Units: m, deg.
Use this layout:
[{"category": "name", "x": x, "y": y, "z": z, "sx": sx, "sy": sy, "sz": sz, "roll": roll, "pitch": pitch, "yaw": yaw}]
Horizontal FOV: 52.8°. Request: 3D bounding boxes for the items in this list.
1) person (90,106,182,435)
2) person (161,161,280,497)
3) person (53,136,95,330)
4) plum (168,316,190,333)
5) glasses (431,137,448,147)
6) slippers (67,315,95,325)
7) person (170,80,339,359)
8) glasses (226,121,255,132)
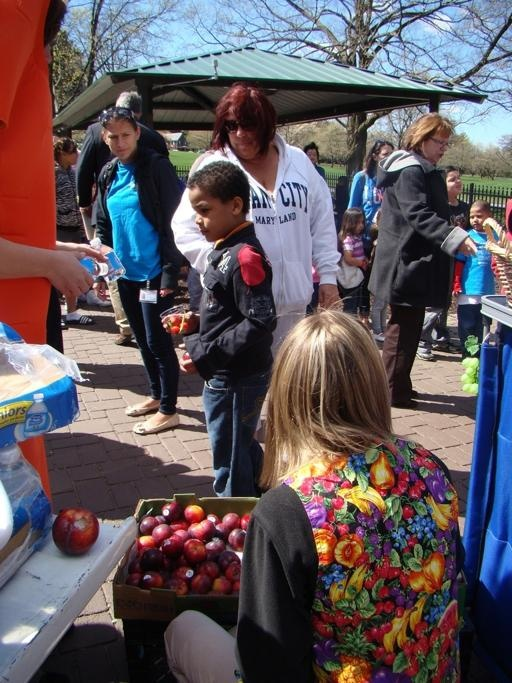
[{"category": "person", "x": -0.855, "y": -0.638, "z": 3.602, "sx": 0.863, "sy": 2.337, "sz": 0.680, "roll": 5, "pitch": 8, "yaw": 37}, {"category": "person", "x": -0.083, "y": 0.012, "z": 2.197, "sx": 0.423, "sy": 1.389, "sz": 0.414, "roll": 6, "pitch": 10, "yaw": 32}, {"category": "person", "x": -2.409, "y": -1.378, "z": 6.650, "sx": 0.724, "sy": 2.411, "sz": 0.817, "roll": 4, "pitch": 20, "yaw": -10}, {"category": "plum", "x": -0.351, "y": -0.072, "z": 2.388, "sx": 0.054, "sy": 0.077, "sz": 0.081, "roll": 13, "pitch": 15, "yaw": -45}, {"category": "glasses", "x": 1.310, "y": -1.410, "z": 3.643, "sx": 0.073, "sy": 0.023, "sz": 0.070, "roll": -5, "pitch": 53, "yaw": -27}, {"category": "slippers", "x": -2.293, "y": -0.281, "z": 6.738, "sx": 0.350, "sy": 0.126, "sz": 0.131, "roll": -3, "pitch": 25, "yaw": -6}, {"category": "person", "x": 0.044, "y": -0.334, "z": 2.590, "sx": 0.848, "sy": 1.707, "sz": 0.599, "roll": -16, "pitch": 25, "yaw": -32}, {"category": "glasses", "x": -0.067, "y": -0.968, "z": 2.314, "sx": 0.065, "sy": 0.019, "sz": 0.069, "roll": 14, "pitch": 13, "yaw": 38}]
